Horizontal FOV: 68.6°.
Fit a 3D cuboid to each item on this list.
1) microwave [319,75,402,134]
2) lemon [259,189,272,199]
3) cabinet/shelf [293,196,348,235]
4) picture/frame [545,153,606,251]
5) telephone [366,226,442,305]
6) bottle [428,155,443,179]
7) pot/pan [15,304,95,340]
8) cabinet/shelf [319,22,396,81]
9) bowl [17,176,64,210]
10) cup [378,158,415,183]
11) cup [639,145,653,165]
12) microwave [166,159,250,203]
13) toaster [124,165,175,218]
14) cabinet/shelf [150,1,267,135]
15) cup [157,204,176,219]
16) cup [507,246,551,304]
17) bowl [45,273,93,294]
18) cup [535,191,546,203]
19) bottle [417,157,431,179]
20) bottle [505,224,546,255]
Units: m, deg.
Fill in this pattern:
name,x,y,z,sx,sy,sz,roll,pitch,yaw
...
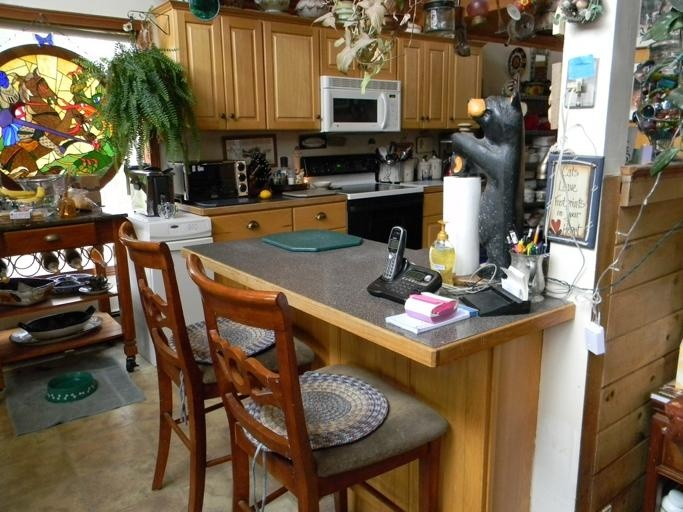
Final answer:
name,x,y,z,sx,sy,sz,roll,pitch,yaw
microwave,0.141,-1.303,4.382,0.721,0.430,0.418,-3,17,-14
lemon,-0.585,-0.468,3.838,0.085,0.064,0.128,-8,18,-13
cabinet/shelf,-0.173,-0.318,3.932,0.506,0.319,0.316,-5,16,-27
picture/frame,0.732,-0.177,1.598,0.063,0.287,0.191,-16,21,-33
telephone,0.189,0.021,1.605,0.190,0.203,0.220,-17,19,-24
bottle,0.949,-0.886,5.049,0.197,0.213,0.201,1,5,7
pot/pan,-1.823,0.443,3.257,0.295,0.098,0.229,-10,13,-39
cabinet/shelf,0.131,-1.676,4.184,0.758,0.411,0.225,-12,19,-25
bowl,-1.926,-0.425,3.267,0.272,0.216,0.271,0,2,0
cup,0.612,-0.822,4.837,0.471,0.209,0.284,-14,20,-31
cup,1.025,-0.339,1.680,0.040,0.056,0.078,7,20,30
microwave,-0.971,-0.567,3.770,0.576,0.306,0.336,-9,18,-16
toaster,-1.315,-0.451,3.482,0.212,0.317,0.361,-11,17,-39
cabinet/shelf,-0.960,-1.337,3.516,0.991,0.969,0.408,-7,12,-39
cup,-1.164,-0.299,3.331,0.098,0.081,0.103,0,0,0
cup,0.611,0.055,1.612,0.123,0.168,0.106,-1,18,10
bowl,-1.872,0.191,3.485,0.204,0.081,0.208,4,5,0
cup,1.629,-0.484,4.098,0.053,0.099,0.148,-1,17,9
bottle,0.842,-0.880,5.061,0.131,0.186,0.262,3,18,20
bottle,0.590,-0.055,1.622,0.118,0.110,0.091,-5,8,17
